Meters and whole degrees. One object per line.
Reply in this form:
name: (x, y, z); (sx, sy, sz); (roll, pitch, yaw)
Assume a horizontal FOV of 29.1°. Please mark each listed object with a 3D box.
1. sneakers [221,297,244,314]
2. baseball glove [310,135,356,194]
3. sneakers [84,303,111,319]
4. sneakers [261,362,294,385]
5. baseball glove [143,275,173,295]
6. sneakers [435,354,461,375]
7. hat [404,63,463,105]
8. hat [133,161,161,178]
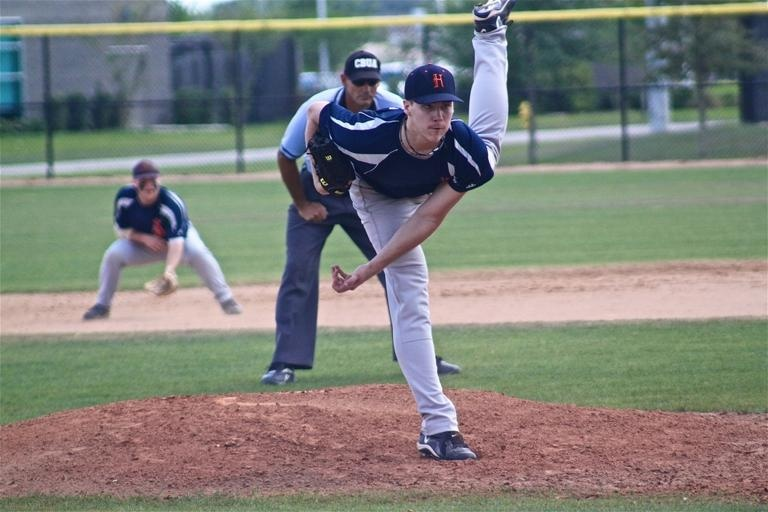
sneakers: (-1.380, 0.430, 13.255); (0.188, 0.107, 0.193); (36, -18, -30)
baseball glove: (-0.386, -0.741, 11.286); (0.306, 0.495, 0.361); (-7, 29, 4)
sneakers: (-2.480, 0.465, 12.767); (0.250, 0.132, 0.097); (1, 8, -17)
sneakers: (-0.885, 0.963, 12.187); (0.253, 0.096, 0.142); (1, 1, 36)
baseball glove: (-1.889, 0.241, 12.316); (0.224, 0.148, 0.092); (6, -9, -11)
sneakers: (0.522, 0.893, 12.378); (0.225, 0.103, 0.131); (12, 15, 22)
hat: (0.327, -1.259, 10.762); (0.293, 0.198, 0.374); (-6, 15, -23)
hat: (-2.035, -0.753, 12.610); (0.215, 0.151, 0.162); (-2, 6, -5)
